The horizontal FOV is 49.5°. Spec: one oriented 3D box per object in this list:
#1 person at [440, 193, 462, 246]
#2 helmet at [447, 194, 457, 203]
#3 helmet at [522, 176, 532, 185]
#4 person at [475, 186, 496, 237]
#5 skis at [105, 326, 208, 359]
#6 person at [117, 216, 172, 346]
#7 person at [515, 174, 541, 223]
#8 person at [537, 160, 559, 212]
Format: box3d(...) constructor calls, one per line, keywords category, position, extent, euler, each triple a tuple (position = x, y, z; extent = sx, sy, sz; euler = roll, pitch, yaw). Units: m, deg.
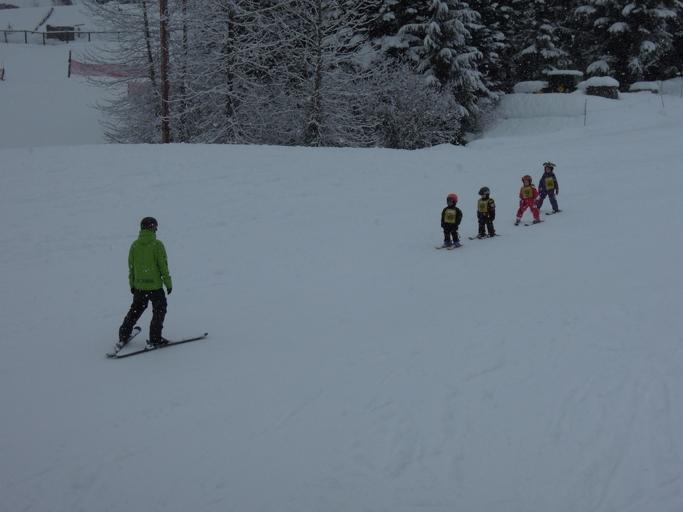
box3d(category="person", position=(2.632, -0.830, 17.815), extent=(0.470, 1.263, 0.785), euler=(-3, 4, 9))
box3d(category="helmet", position=(2.637, -1.380, 17.736), extent=(0.278, 0.262, 0.460), euler=(5, 3, 7))
box3d(category="helmet", position=(4.806, -1.946, 19.220), extent=(0.198, 0.244, 0.527), euler=(-2, 5, 20))
box3d(category="person", position=(3.578, -1.078, 18.439), extent=(0.444, 1.246, 0.888), euler=(-3, 4, 11))
box3d(category="skis", position=(-3.423, 1.635, 13.713), extent=(1.343, 0.257, 0.180), euler=(-19, 23, -39))
box3d(category="person", position=(-3.570, 0.492, 13.546), extent=(1.038, 2.359, 0.381), euler=(-2, 4, 14))
box3d(category="person", position=(4.890, -1.484, 19.576), extent=(0.675, 1.269, 1.227), euler=(-2, 5, 16))
box3d(category="person", position=(5.607, -1.851, 20.107), extent=(0.536, 1.376, 1.615), euler=(-2, 5, 17))
